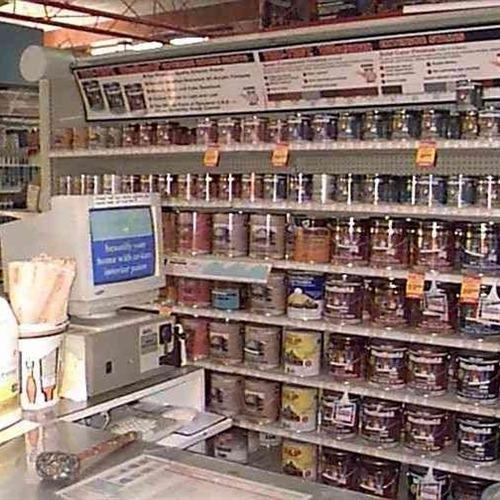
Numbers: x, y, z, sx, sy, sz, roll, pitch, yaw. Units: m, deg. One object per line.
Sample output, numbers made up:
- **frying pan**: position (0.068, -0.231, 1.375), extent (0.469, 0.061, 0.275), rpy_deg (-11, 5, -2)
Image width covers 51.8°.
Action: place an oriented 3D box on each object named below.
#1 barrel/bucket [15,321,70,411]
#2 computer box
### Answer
- **barrel/bucket**: position (-0.791, 0.445, 2.134), extent (0.311, 0.368, 0.314), rpy_deg (3, 1, 0)
- **computer box**: position (-0.694, 0.483, 2.449), extent (0.404, 0.256, 0.618), rpy_deg (-2, 0, 34)
